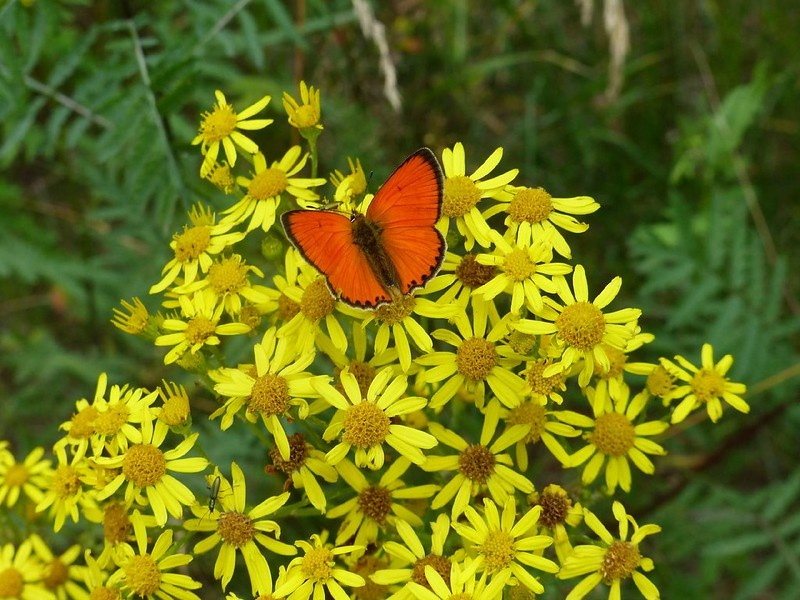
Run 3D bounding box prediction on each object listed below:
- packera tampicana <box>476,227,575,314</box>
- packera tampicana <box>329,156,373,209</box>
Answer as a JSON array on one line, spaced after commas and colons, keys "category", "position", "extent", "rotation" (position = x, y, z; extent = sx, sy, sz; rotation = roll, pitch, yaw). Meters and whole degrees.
[{"category": "packera tampicana", "position": [0.462, -0.137, 3.394], "extent": [0.368, 0.414, 0.092], "rotation": [25, 69, -14]}, {"category": "packera tampicana", "position": [-0.171, -0.431, 3.553], "extent": [0.099, 0.244, 0.259], "rotation": [4, 81, -13]}]
